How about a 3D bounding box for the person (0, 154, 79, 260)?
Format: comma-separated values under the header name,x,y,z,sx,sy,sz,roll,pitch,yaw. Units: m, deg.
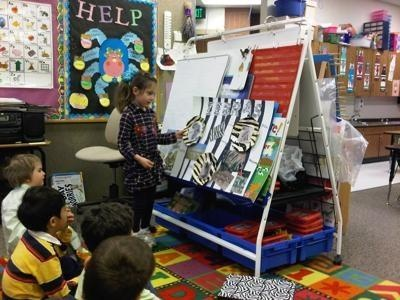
name,x,y,z,sx,sy,sz,roll,pitch,yaw
person,-1.040,0.287,2.100,0.616,0.797,0.564,-3,6,-32
